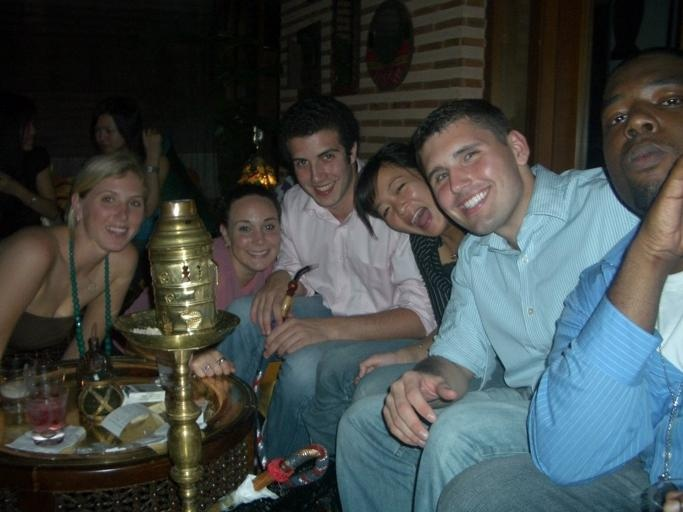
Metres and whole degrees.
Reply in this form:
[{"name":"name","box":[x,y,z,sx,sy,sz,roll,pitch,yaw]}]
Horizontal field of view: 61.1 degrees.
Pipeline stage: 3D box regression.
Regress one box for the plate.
[{"name":"plate","box":[-0.493,0.221,1.748,0.375,0.109,0.219,-4,5,-3]}]

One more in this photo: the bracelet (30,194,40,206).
[{"name":"bracelet","box":[-2.717,-0.503,5.119,0.020,0.063,0.067,7,3,21]}]

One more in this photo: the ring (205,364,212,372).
[{"name":"ring","box":[-0.661,0.550,2.859,0.031,0.035,0.032,4,-35,3]}]

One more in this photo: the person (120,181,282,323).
[{"name":"person","box":[-0.834,-0.006,3.900,1.084,0.624,0.680,-7,-16,33]}]
